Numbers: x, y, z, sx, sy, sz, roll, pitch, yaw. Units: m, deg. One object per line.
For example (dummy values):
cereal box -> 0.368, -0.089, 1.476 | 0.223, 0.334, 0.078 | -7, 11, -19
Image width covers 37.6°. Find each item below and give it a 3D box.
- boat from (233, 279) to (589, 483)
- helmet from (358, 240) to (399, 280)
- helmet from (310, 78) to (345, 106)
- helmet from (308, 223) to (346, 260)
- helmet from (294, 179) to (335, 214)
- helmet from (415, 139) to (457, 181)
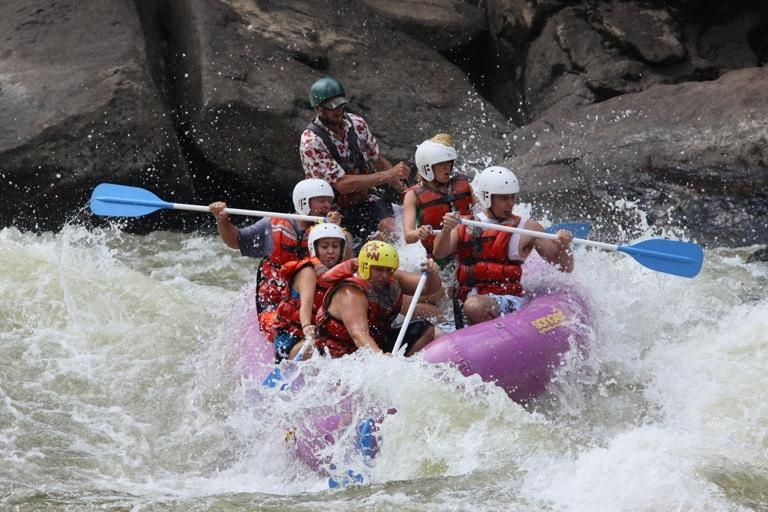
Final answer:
boat -> 0.801, 1.117, 11.106 | 2.442, 2.023, 0.843 | -26, 93, -38
helmet -> -0.033, 0.024, 11.312 | 0.370, 0.465, 0.420 | 2, 102, -33
helmet -> -0.664, -1.859, 12.682 | 0.358, 0.274, 0.201 | -1, 105, 30
helmet -> -0.579, -0.112, 11.706 | 0.351, 0.447, 0.401 | -2, 73, 0
helmet -> -0.765, -0.649, 12.283 | 0.418, 0.313, 0.337 | -11, 85, 14
helmet -> 0.553, -1.054, 12.360 | 0.492, 0.373, 0.418 | 1, 102, 32
